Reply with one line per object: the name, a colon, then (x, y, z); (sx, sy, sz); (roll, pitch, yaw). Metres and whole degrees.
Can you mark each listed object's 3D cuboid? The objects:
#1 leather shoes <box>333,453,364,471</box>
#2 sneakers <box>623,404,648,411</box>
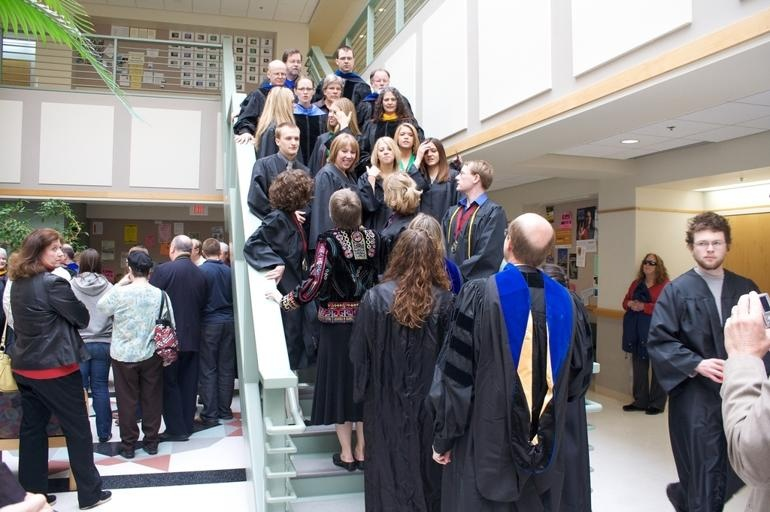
leather shoes: (-0.303, 1.636, 4.430); (0.115, 0.070, 0.233); (2, 0, -23)
sneakers: (3.625, 2.218, 8.078); (0.324, 0.125, 0.115); (0, -5, 0)
